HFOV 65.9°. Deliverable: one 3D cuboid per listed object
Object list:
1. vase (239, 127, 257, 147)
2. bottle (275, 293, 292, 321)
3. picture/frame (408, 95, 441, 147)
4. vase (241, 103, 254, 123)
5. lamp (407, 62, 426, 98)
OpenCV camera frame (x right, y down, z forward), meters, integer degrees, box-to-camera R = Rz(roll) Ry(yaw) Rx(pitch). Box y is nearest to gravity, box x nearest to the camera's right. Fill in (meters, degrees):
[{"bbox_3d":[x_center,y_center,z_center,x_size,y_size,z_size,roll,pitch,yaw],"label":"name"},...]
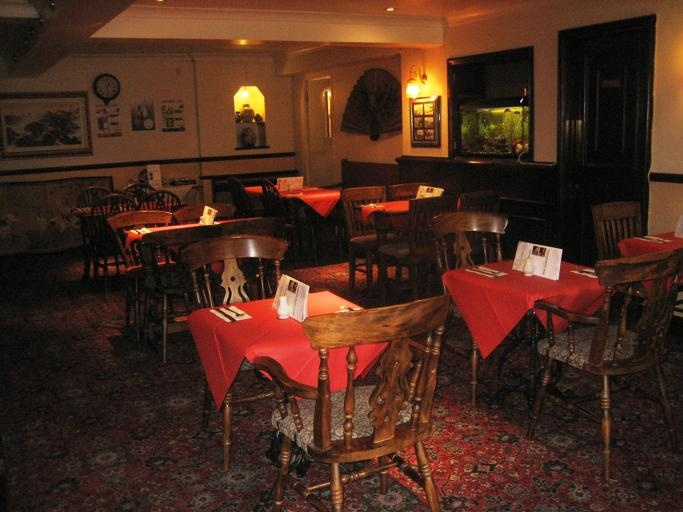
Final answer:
[{"bbox_3d":[-1.918,-2.398,10.713,0.340,0.430,0.192,-8,13,-19],"label":"vase"},{"bbox_3d":[-0.311,0.279,2.811,0.081,0.107,0.119,-1,-6,8],"label":"bottle"},{"bbox_3d":[1.206,-1.963,7.599,0.065,0.876,0.826,-5,7,-36],"label":"picture/frame"},{"bbox_3d":[-1.922,-2.929,10.807,0.208,0.388,0.327,1,13,22],"label":"vase"},{"bbox_3d":[1.065,-2.535,7.662,0.143,0.469,0.378,-12,15,-30],"label":"lamp"}]
